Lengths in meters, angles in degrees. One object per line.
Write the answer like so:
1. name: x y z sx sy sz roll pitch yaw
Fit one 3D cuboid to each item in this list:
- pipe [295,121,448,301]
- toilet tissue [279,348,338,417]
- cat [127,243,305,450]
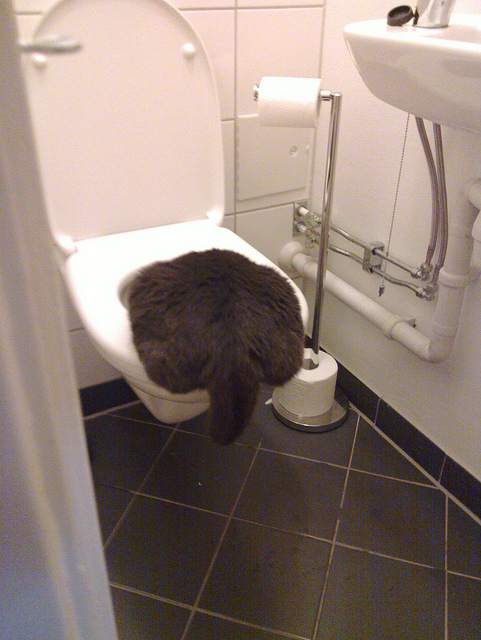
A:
1. pipe: 0.282 -0.234 1.118 0.039 0.365 0.330 -31 57 -14
2. toilet tissue: 0.166 0.159 1.271 0.097 0.098 0.097 3 23 9
3. cat: -0.029 0.024 0.815 0.263 0.124 0.365 -3 42 -5
